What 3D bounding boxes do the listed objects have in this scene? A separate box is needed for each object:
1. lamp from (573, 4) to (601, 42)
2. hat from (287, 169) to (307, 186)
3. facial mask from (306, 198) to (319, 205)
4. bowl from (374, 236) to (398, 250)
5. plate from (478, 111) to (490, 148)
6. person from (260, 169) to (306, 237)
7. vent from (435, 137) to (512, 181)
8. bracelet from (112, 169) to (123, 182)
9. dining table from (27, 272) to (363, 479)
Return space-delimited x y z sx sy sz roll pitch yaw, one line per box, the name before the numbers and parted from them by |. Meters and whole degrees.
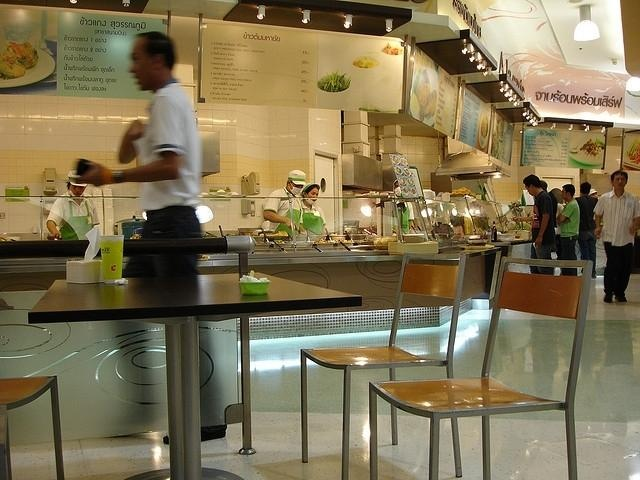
lamp | 4.546 -3.605 8.868 0.332 0.587 1.098 1 6 27
hat | -0.279 -0.704 6.038 0.208 0.135 0.263 0 2 -32
facial mask | -0.065 -0.334 4.634 0.074 0.039 0.054 -6 8 -1
bowl | 0.621 0.034 4.969 0.245 0.122 0.148 1 6 26
plate | 2.607 -1.718 8.235 0.090 0.514 0.532 4 1 25
person | -0.342 -0.413 5.287 0.584 0.616 1.558 -2 5 -10
vent | 2.878 -1.487 9.681 1.220 0.486 1.206 0 -3 14
bracelet | -0.828 -0.261 2.141 0.044 0.038 0.043 5 20 7
dining table | -0.497 0.424 1.906 0.953 0.849 0.926 0 1 -24
